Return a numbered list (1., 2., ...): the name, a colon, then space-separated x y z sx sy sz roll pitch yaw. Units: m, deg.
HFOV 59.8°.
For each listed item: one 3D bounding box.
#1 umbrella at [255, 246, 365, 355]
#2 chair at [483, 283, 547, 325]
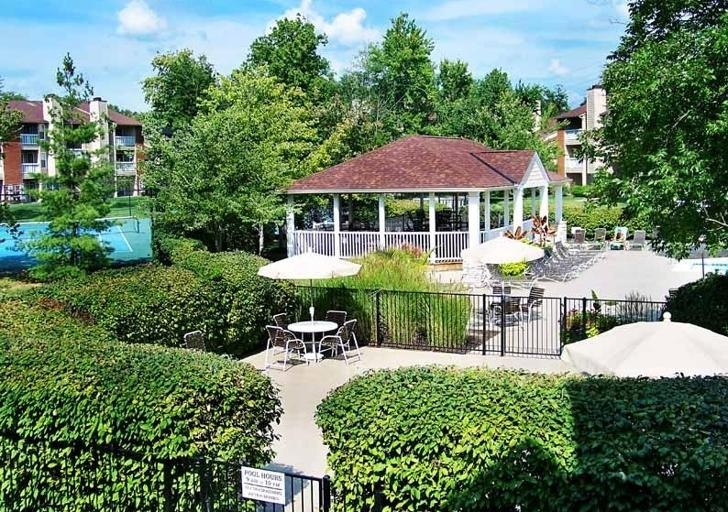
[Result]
1. umbrella: -1.595 1.239 18.211 2.717 2.950 2.789 -2 3 -6
2. chair: 5.006 1.683 20.952 1.499 0.960 1.550 4 16 16
